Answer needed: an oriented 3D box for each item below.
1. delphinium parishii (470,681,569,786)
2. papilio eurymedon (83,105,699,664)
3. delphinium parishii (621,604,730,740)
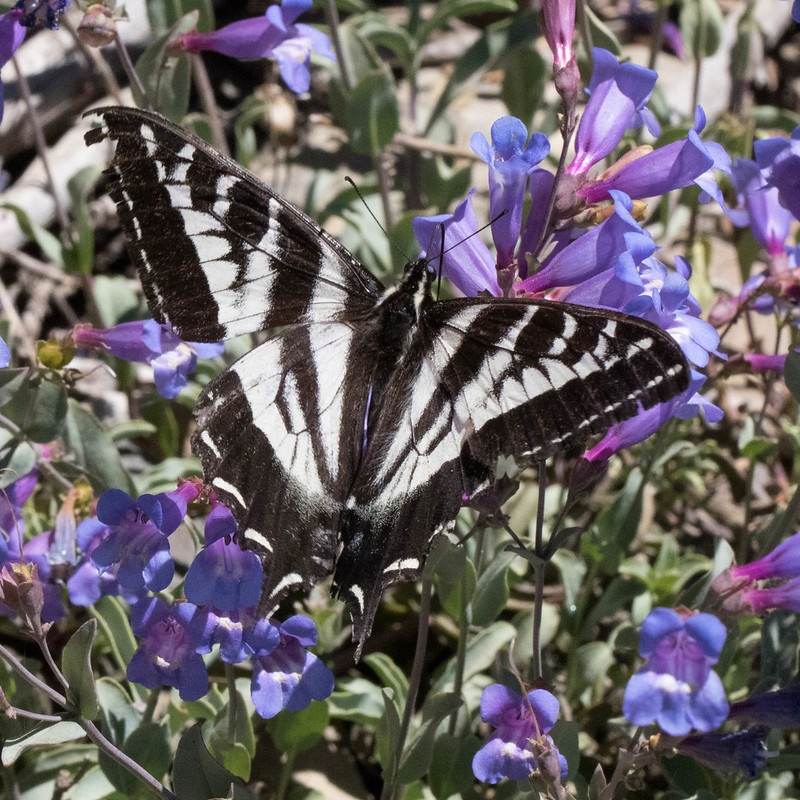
[{"bbox_3d":[0.174,0.500,1.765,0.149,0.154,0.051,6,-2,7],"label":"delphinium parishii"},{"bbox_3d":[0.026,-0.078,2.036,1.143,0.807,0.325,23,5,16],"label":"papilio eurymedon"},{"bbox_3d":[0.371,0.365,1.553,0.143,0.174,0.066,21,-12,6],"label":"delphinium parishii"}]
